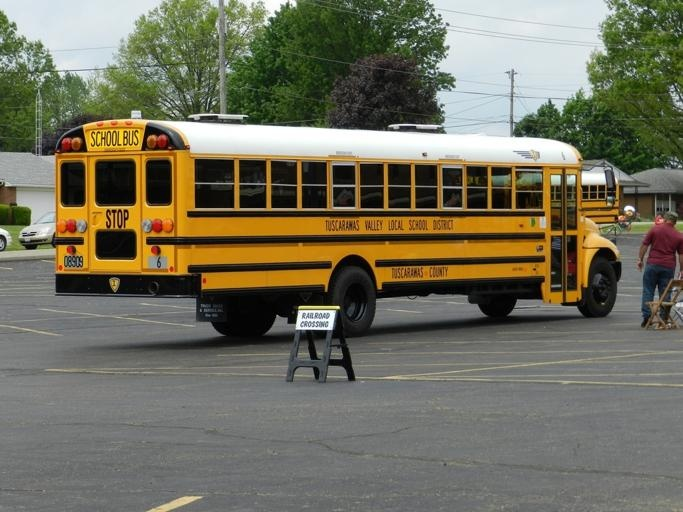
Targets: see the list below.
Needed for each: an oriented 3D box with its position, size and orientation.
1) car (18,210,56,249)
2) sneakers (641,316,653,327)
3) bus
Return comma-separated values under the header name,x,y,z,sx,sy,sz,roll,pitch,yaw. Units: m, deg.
name,x,y,z,sx,sy,sz,roll,pitch,yaw
car,-16.212,-1.364,46.279,1.697,2.013,2.831,-1,-1,-21
sneakers,6.117,1.317,17.425,0.182,0.227,0.261,-1,-1,17
bus,0.744,-0.492,17.985,12.570,3.980,2.632,-1,-1,-33
